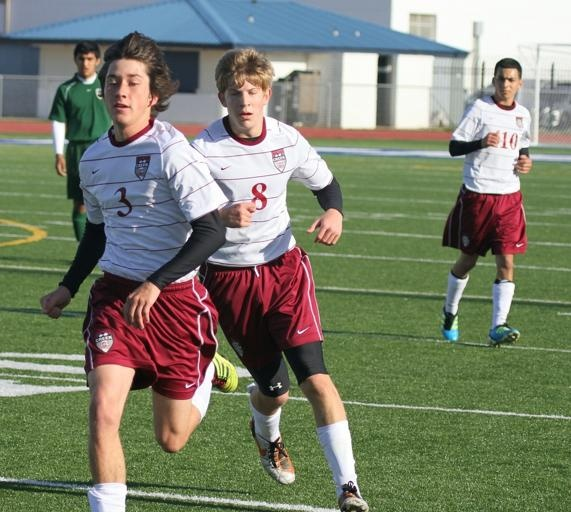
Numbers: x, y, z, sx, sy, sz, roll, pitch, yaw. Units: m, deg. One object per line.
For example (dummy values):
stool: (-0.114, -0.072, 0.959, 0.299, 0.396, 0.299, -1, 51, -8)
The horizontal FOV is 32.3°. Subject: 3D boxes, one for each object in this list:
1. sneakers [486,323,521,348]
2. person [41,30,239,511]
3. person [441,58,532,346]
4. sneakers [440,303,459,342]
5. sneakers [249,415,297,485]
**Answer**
sneakers: (1.519, 0.569, 6.961, 0.095, 0.135, 0.285, -2, -16, -38)
person: (-0.634, 0.021, 4.196, 0.738, 1.918, 0.828, -2, 10, -18)
person: (1.483, -0.316, 7.400, 0.623, 1.863, 1.041, 3, 10, 13)
sneakers: (1.222, 0.516, 7.350, 0.126, 0.234, 0.189, 3, 10, 9)
sneakers: (-0.059, 0.964, 4.849, 0.102, 0.121, 0.302, -21, 58, -21)
